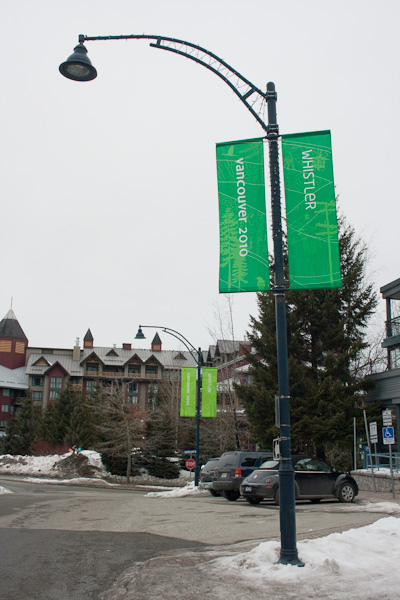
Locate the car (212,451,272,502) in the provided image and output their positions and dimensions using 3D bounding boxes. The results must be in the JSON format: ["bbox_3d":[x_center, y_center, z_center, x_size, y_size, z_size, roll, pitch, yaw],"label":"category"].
[{"bbox_3d":[2.057,5.717,20.285,3.213,1.595,1.501,11,-18,-32],"label":"car"}]

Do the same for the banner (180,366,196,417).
[{"bbox_3d":[-0.500,3.972,27.232,0.870,2.095,0.769,4,-13,-21],"label":"banner"}]

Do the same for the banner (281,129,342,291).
[{"bbox_3d":[1.495,-1.273,8.389,0.683,2.258,0.468,-3,-12,9],"label":"banner"}]

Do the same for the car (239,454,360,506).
[{"bbox_3d":[2.744,4.994,17.255,3.256,1.356,1.281,8,-15,-34],"label":"car"}]

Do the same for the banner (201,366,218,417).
[{"bbox_3d":[0.362,3.776,25.978,0.658,2.067,0.642,-2,-12,4],"label":"banner"}]

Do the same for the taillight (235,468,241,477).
[{"bbox_3d":[1.166,5.238,19.032,0.186,0.348,0.240,3,-5,-23],"label":"taillight"}]

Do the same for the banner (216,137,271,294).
[{"bbox_3d":[0.581,-1.176,8.495,0.790,2.261,0.276,-8,-14,27],"label":"banner"}]
